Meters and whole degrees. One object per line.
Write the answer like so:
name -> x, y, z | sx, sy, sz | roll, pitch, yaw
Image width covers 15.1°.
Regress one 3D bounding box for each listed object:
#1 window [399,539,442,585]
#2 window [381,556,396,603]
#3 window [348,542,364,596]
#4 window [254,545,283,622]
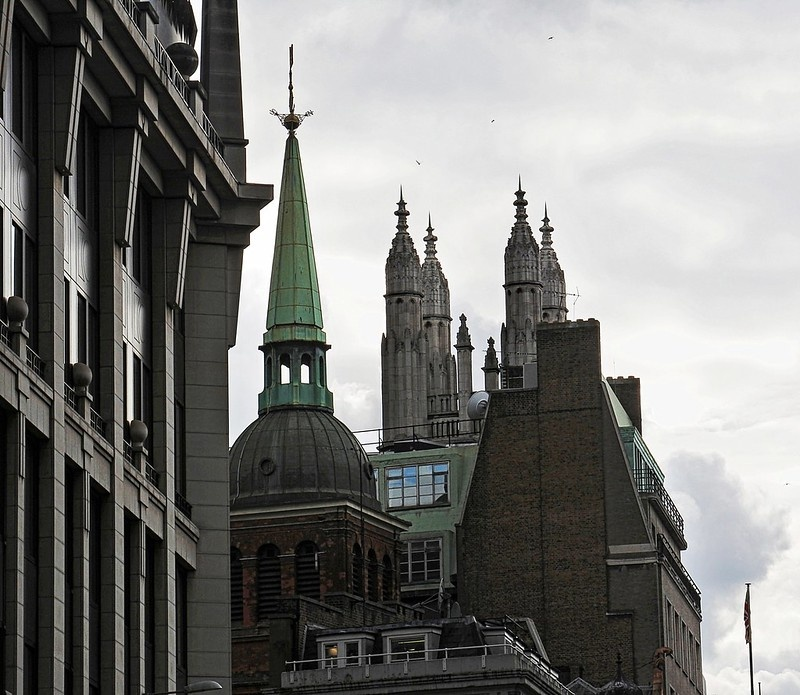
window -> 0.953, 9.908, 137.173 | 0.159, 1.972, 2.099 | 2, -4, -30
window -> -0.633, 10.341, 131.990 | 0.440, 2.130, 0.185 | 7, -20, -26
window -> -1.939, 9.995, 129.543 | 0.205, 1.933, 0.922 | -4, 14, -24
window -> -5.660, 10.159, 128.189 | 1.068, 3.402, 1.182 | -1, -16, -3
